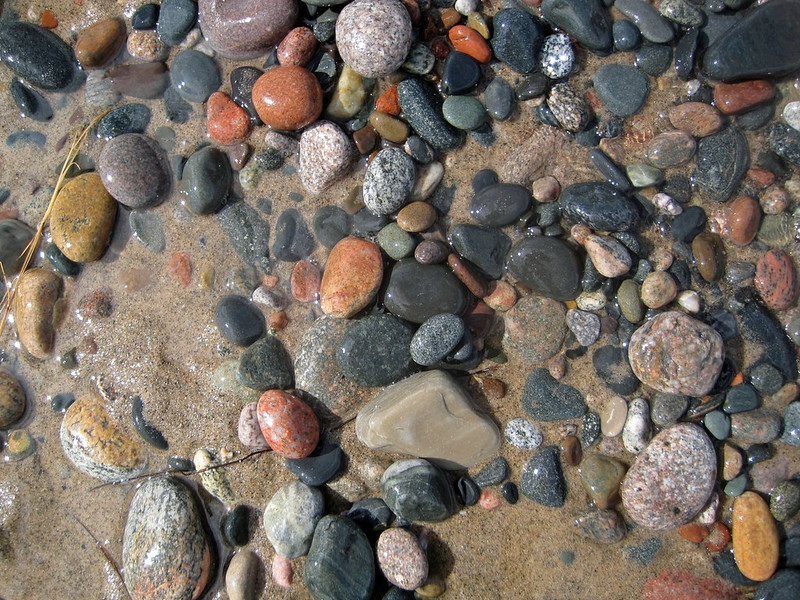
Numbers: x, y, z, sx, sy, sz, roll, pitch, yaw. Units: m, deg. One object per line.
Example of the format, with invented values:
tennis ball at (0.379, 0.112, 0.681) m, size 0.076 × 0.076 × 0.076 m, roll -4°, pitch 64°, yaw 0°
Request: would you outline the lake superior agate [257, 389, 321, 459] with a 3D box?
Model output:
lake superior agate at (-0.611, 0.717, 4.549) m, size 0.266 × 0.308 × 0.465 m, roll -64°, pitch 37°, yaw 29°
